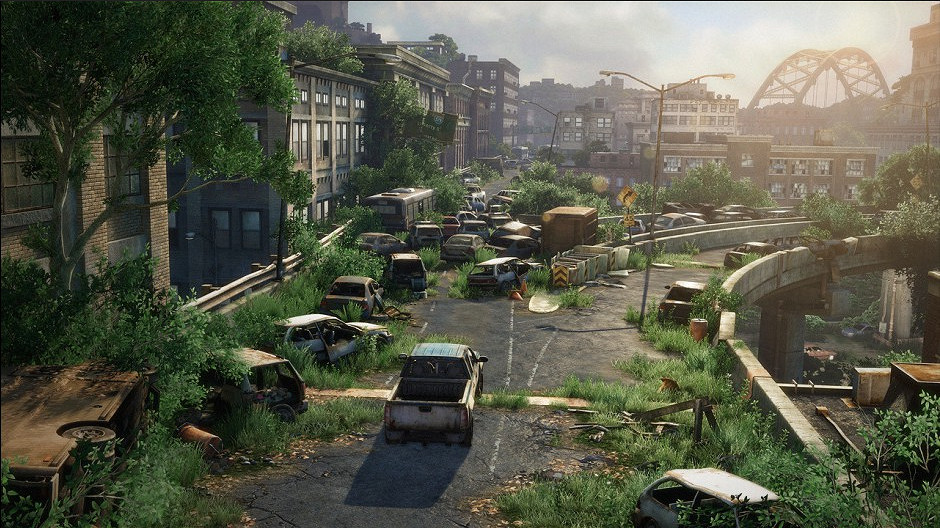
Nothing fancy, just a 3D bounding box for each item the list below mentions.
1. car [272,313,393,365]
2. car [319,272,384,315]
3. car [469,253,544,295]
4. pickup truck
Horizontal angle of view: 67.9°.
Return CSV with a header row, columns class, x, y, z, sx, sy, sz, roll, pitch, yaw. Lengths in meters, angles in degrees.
class,x,y,z,sx,sy,sz,roll,pitch,yaw
car,-5.868,3.027,29.230,4.660,1.880,1.268,-8,14,-33
car,-5.931,1.629,34.705,2.978,1.849,2.153,-3,12,-15
car,2.172,0.724,43.936,6.200,2.760,2.766,0,0,40
pickup truck,-1.115,4.409,25.243,3.102,2.746,6.970,1,8,3
